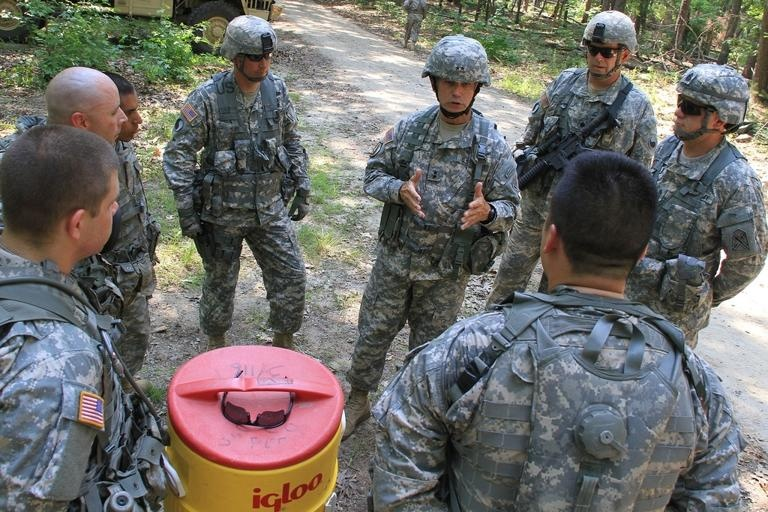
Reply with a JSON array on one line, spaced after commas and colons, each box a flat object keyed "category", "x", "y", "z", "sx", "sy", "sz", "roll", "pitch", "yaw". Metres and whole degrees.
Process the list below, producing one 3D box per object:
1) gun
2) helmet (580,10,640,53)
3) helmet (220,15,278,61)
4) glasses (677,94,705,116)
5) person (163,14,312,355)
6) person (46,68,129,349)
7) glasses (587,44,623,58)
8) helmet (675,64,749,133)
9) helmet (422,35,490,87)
[{"category": "gun", "x": 1.552, "y": -1.026, "z": 5.842, "sx": 1.244, "sy": 0.457, "sz": 0.144, "roll": -16, "pitch": 46, "yaw": -26}, {"category": "helmet", "x": 1.849, "y": -1.870, "z": 5.990, "sx": 0.462, "sy": 0.321, "sz": 0.426, "roll": -20, "pitch": 35, "yaw": -35}, {"category": "helmet", "x": -0.972, "y": -1.632, "z": 5.415, "sx": 0.446, "sy": 0.271, "sz": 0.444, "roll": -6, "pitch": 35, "yaw": -9}, {"category": "glasses", "x": 2.079, "y": -1.028, "z": 4.988, "sx": 0.150, "sy": 0.047, "sz": 0.142, "roll": 3, "pitch": 29, "yaw": -30}, {"category": "person", "x": -1.099, "y": -0.529, "z": 5.559, "sx": 1.136, "sy": 2.483, "sz": 0.634, "roll": 5, "pitch": 20, "yaw": -15}, {"category": "person", "x": -1.917, "y": -0.224, "z": 4.858, "sx": 0.690, "sy": 1.998, "sz": 0.640, "roll": -1, "pitch": 33, "yaw": -19}, {"category": "glasses", "x": 1.755, "y": -1.662, "z": 5.878, "sx": 0.252, "sy": 0.103, "sz": 0.093, "roll": 13, "pitch": 18, "yaw": 11}, {"category": "helmet", "x": 2.268, "y": -1.153, "z": 5.130, "sx": 0.540, "sy": 0.404, "sz": 0.421, "roll": 1, "pitch": 33, "yaw": -15}, {"category": "helmet", "x": 0.492, "y": -1.344, "z": 4.942, "sx": 0.550, "sy": 0.308, "sz": 0.500, "roll": 0, "pitch": 26, "yaw": -12}]
